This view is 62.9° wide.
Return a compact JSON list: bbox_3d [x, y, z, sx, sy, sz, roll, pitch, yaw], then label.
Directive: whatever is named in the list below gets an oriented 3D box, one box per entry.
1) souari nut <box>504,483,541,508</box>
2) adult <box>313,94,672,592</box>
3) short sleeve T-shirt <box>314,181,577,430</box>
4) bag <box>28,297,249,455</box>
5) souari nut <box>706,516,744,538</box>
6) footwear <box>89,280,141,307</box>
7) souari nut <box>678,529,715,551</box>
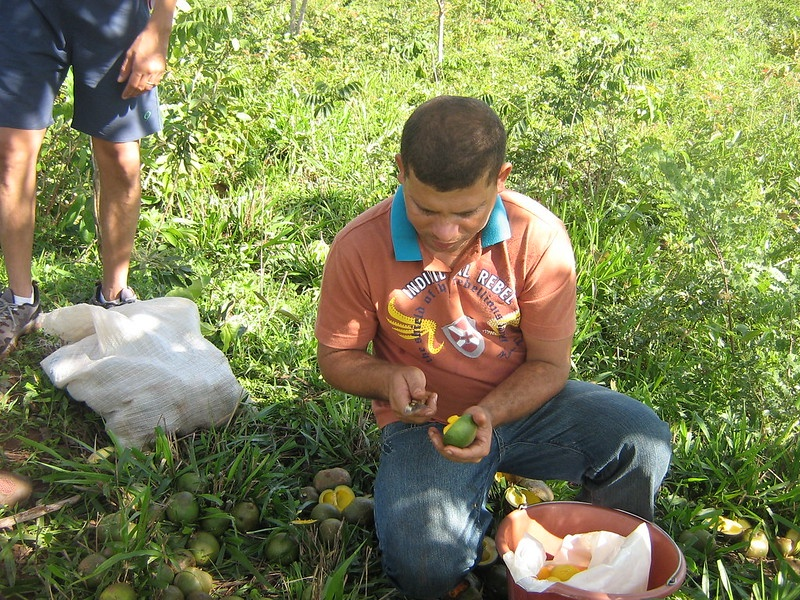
[{"bbox_3d":[0.576,0.949,3.157,0.121,0.059,0.139,-2,35,-18],"label":"souari nut"},{"bbox_3d":[0.412,0.213,2.867,1.143,1.690,1.412,-6,45,-38],"label":"adult"},{"bbox_3d":[0.206,0.073,2.860,1.132,1.101,0.603,-3,34,-2],"label":"short sleeve T-shirt"},{"bbox_3d":[-1.361,0.312,3.416,0.789,0.387,0.989,-14,51,-44],"label":"bag"},{"bbox_3d":[1.512,1.050,3.062,0.146,0.043,0.095,26,53,28],"label":"souari nut"},{"bbox_3d":[-1.645,-0.041,3.888,0.129,0.163,0.360,10,14,21],"label":"footwear"},{"bbox_3d":[1.351,1.075,2.958,0.123,0.111,0.030,32,2,-3],"label":"souari nut"}]
